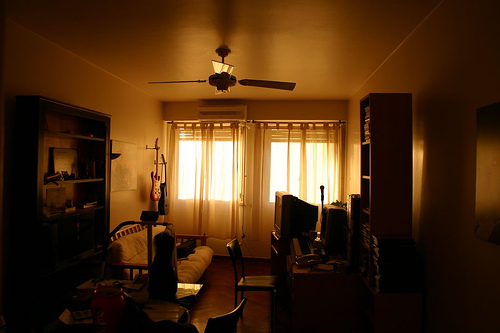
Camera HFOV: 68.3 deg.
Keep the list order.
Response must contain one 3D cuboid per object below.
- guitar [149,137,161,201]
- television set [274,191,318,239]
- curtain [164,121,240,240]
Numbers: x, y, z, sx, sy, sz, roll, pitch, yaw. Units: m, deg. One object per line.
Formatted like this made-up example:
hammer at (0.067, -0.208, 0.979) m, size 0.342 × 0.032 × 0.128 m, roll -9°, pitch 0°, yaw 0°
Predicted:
guitar at (-1.701, 0.072, 6.618) m, size 0.190 × 1.123 × 0.481 m, roll -1°, pitch 1°, yaw -15°
television set at (0.652, 0.720, 5.546) m, size 0.609 × 0.640 × 0.623 m, roll 1°, pitch -4°, yaw -4°
curtain at (-0.909, 0.263, 7.024) m, size 1.447 × 2.233 × 0.298 m, roll 0°, pitch 1°, yaw 13°
